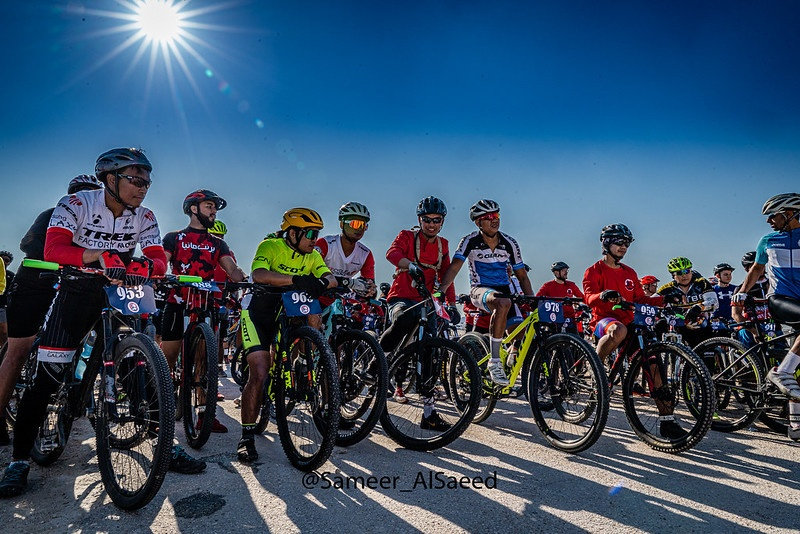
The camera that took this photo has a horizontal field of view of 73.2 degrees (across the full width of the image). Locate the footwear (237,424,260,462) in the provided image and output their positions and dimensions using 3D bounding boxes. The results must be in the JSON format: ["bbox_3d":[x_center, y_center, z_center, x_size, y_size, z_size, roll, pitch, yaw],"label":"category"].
[{"bbox_3d":[-1.622,1.855,5.677,0.208,0.362,0.224,-1,5,-18],"label":"footwear"}]

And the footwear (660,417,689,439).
[{"bbox_3d":[3.158,1.873,6.184,0.271,0.224,0.312,3,6,21],"label":"footwear"}]

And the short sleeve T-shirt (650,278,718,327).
[{"bbox_3d":[4.033,0.534,7.623,0.629,0.600,0.812,-10,-19,25],"label":"short sleeve T-shirt"}]

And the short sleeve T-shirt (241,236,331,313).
[{"bbox_3d":[-1.258,0.114,5.928,0.727,0.578,0.358,24,-16,-22],"label":"short sleeve T-shirt"}]

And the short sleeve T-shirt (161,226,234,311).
[{"bbox_3d":[-2.679,0.035,6.981,1.043,0.985,0.371,9,-25,-39],"label":"short sleeve T-shirt"}]

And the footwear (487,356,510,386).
[{"bbox_3d":[1.237,1.335,6.846,0.145,0.189,0.408,0,12,-26],"label":"footwear"}]

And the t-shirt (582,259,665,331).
[{"bbox_3d":[2.802,0.416,6.831,0.781,0.538,0.499,12,-24,-34],"label":"t-shirt"}]

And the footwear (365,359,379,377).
[{"bbox_3d":[-0.331,1.158,6.118,0.061,0.206,0.148,18,-21,-32],"label":"footwear"}]

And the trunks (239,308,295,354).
[{"bbox_3d":[-1.451,0.696,5.868,0.302,0.421,0.243,27,-36,-24],"label":"trunks"}]

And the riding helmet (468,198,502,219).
[{"bbox_3d":[1.179,-0.777,7.503,0.344,0.276,0.362,2,5,11],"label":"riding helmet"}]

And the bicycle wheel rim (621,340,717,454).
[{"bbox_3d":[3.344,1.529,6.740,0.958,1.387,1.640,4,6,25],"label":"bicycle wheel rim"}]

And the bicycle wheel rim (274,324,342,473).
[{"bbox_3d":[-1.038,1.328,5.751,0.622,1.399,1.237,0,5,-16],"label":"bicycle wheel rim"}]

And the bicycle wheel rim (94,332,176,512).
[{"bbox_3d":[-2.373,1.376,4.737,0.391,1.371,1.329,4,-8,-35],"label":"bicycle wheel rim"}]

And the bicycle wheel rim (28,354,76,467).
[{"bbox_3d":[-3.357,1.344,5.127,0.254,0.875,0.821,12,-39,-42],"label":"bicycle wheel rim"}]

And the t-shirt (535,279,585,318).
[{"bbox_3d":[2.499,0.528,8.352,0.857,0.649,0.266,4,-39,1],"label":"t-shirt"}]

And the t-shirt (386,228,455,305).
[{"bbox_3d":[0.243,0.019,6.814,0.690,0.774,0.437,23,-36,-25],"label":"t-shirt"}]

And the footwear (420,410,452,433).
[{"bbox_3d":[0.428,1.897,6.627,0.462,0.280,0.165,-1,-7,7],"label":"footwear"}]

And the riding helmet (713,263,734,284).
[{"bbox_3d":[6.063,0.135,10.030,0.296,0.292,0.231,-19,-34,21],"label":"riding helmet"}]

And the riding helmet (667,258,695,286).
[{"bbox_3d":[4.268,0.086,8.141,0.349,0.453,0.460,-1,-13,4],"label":"riding helmet"}]

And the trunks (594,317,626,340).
[{"bbox_3d":[2.651,0.810,6.848,0.215,0.135,0.280,-30,-2,-39],"label":"trunks"}]
